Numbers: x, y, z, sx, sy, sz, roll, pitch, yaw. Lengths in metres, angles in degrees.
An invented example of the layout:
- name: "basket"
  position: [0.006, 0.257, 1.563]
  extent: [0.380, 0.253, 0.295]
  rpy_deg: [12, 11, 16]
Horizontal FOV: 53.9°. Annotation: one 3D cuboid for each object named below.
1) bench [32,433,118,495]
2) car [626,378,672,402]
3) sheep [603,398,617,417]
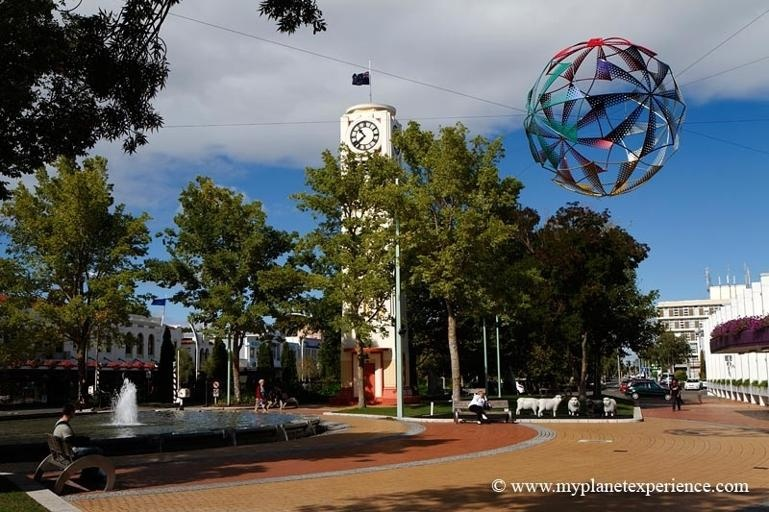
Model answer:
- name: "bench"
  position: [-9.318, 6.309, 23.036]
  extent: [2.078, 1.498, 1.955]
  rpy_deg: [-4, -8, 44]
- name: "car"
  position: [23.635, 11.961, 67.871]
  extent: [3.233, 1.759, 4.918]
  rpy_deg: [-3, -11, 16]
- name: "sheep"
  position: [11.548, 7.749, 38.734]
  extent: [0.536, 0.909, 0.766]
  rpy_deg: [-2, -11, 11]
